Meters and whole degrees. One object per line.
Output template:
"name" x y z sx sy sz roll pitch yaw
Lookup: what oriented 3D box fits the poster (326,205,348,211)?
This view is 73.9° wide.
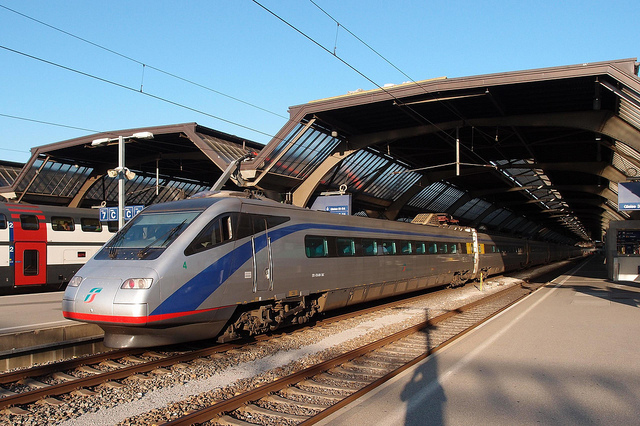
"poster" 1.100 -0.330 27.455 1.628 0.383 0.222 -4 -4 34
